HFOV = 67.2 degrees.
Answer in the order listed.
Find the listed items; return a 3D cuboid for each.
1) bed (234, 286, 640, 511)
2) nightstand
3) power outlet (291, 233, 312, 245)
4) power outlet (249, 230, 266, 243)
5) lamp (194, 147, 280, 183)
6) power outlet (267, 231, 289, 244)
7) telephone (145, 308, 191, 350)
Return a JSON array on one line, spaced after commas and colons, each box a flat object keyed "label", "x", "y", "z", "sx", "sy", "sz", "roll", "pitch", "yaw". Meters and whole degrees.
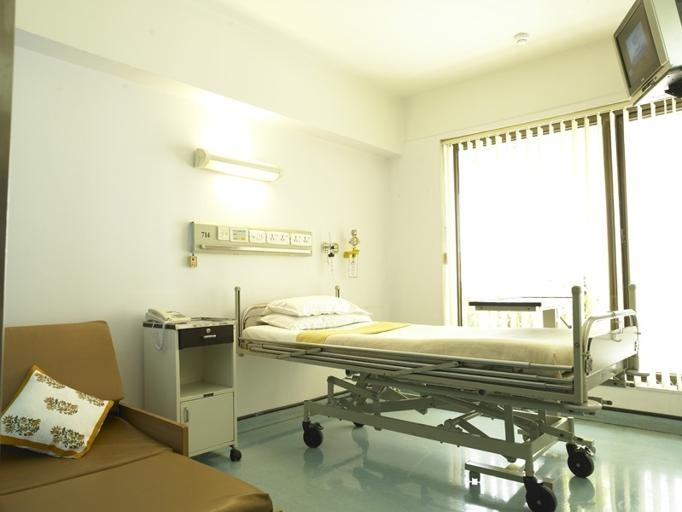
[{"label": "bed", "x": 0.752, "y": 0.852, "z": 4.032, "sx": 2.467, "sy": 1.289, "sz": 1.571, "roll": -3, "pitch": -3, "yaw": 34}, {"label": "nightstand", "x": -1.147, "y": 1.020, "z": 4.020, "sx": 0.520, "sy": 1.003, "sz": 0.572, "roll": -4, "pitch": -5, "yaw": 40}, {"label": "power outlet", "x": -0.398, "y": -0.170, "z": 5.182, "sx": 0.041, "sy": 0.127, "sz": 0.293, "roll": 1, "pitch": 4, "yaw": 34}, {"label": "power outlet", "x": -0.768, "y": -0.183, "z": 4.767, "sx": 0.104, "sy": 0.118, "sz": 0.176, "roll": -1, "pitch": -1, "yaw": 30}, {"label": "lamp", "x": -0.921, "y": -0.827, "z": 4.647, "sx": 0.801, "sy": 0.225, "sz": 0.200, "roll": -4, "pitch": 4, "yaw": -43}, {"label": "power outlet", "x": -0.605, "y": -0.175, "z": 4.952, "sx": 0.029, "sy": 0.133, "sz": 0.276, "roll": 2, "pitch": 4, "yaw": 39}, {"label": "telephone", "x": -1.317, "y": 0.513, "z": 3.949, "sx": 0.283, "sy": 0.265, "sz": 0.392, "roll": -4, "pitch": -5, "yaw": 27}]
